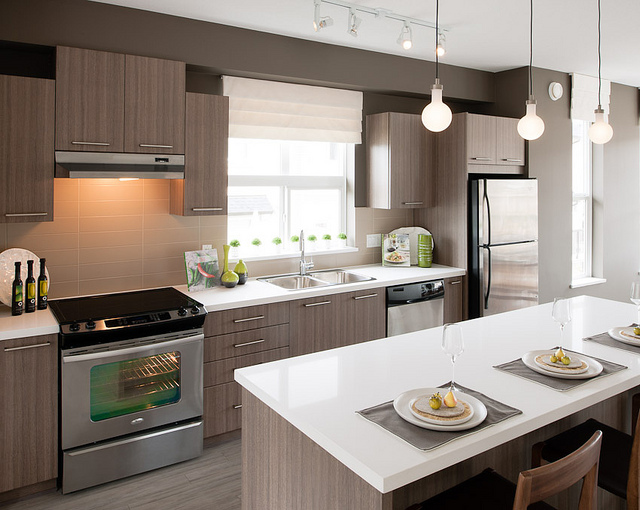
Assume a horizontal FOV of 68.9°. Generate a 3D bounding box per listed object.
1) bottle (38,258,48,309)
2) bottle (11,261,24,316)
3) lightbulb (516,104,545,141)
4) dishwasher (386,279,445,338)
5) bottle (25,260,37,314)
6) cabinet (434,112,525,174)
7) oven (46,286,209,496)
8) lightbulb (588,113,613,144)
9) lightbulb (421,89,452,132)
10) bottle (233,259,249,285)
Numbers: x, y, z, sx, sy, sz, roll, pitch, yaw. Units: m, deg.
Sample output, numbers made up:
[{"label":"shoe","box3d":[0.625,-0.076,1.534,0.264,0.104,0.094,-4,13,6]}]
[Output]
[{"label":"bottle","box3d":[-1.768,0.184,2.965,0.058,0.322,0.061,0,9,0]},{"label":"bottle","box3d":[-1.848,0.202,2.830,0.070,0.325,0.096,-6,11,-35]},{"label":"lightbulb","box3d":[1.132,-0.720,2.513,0.143,0.205,0.144,12,23,41]},{"label":"dishwasher","box3d":[0.822,0.413,4.189,0.506,0.489,0.354,-8,28,-1]},{"label":"bottle","box3d":[-1.817,0.191,2.921,0.077,0.327,0.146,-5,11,-31]},{"label":"cabinet","box3d":[1.594,-1.058,4.594,0.808,0.539,0.444,-3,8,-29]},{"label":"oven","box3d":[-1.277,0.856,3.160,0.830,1.090,0.746,-3,6,-31]},{"label":"lightbulb","box3d":[1.602,-0.733,2.689,0.140,0.197,0.143,-1,6,-2]},{"label":"lightbulb","box3d":[0.575,-0.722,2.320,0.160,0.224,0.159,-22,27,-37]},{"label":"bottle","box3d":[-0.649,0.137,3.774,0.094,0.198,0.085,-4,10,-24]}]
